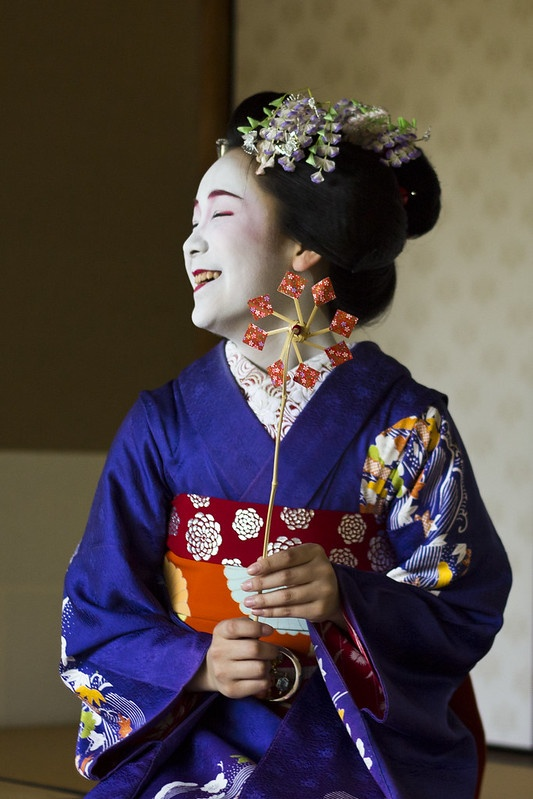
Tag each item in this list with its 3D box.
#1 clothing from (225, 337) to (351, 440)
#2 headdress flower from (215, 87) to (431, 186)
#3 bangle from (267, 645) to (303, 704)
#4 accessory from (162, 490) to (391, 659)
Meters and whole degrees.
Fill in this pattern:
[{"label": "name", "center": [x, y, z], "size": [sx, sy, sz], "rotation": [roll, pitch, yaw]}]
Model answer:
[{"label": "clothing", "center": [0.007, -0.010, 1.371], "size": [0.164, 0.134, 0.044], "rotation": [4, -19, 4]}, {"label": "headdress flower", "center": [0.118, -0.426, 1.390], "size": [0.237, 0.072, 0.175], "rotation": [-9, 43, -15]}, {"label": "bangle", "center": [0.026, 0.402, 1.265], "size": [0.054, 0.065, 0.050], "rotation": [-3, 1, -1]}, {"label": "accessory", "center": [0.014, 0.261, 1.378], "size": [0.293, 0.164, 0.267], "rotation": [5, -10, 19]}]
